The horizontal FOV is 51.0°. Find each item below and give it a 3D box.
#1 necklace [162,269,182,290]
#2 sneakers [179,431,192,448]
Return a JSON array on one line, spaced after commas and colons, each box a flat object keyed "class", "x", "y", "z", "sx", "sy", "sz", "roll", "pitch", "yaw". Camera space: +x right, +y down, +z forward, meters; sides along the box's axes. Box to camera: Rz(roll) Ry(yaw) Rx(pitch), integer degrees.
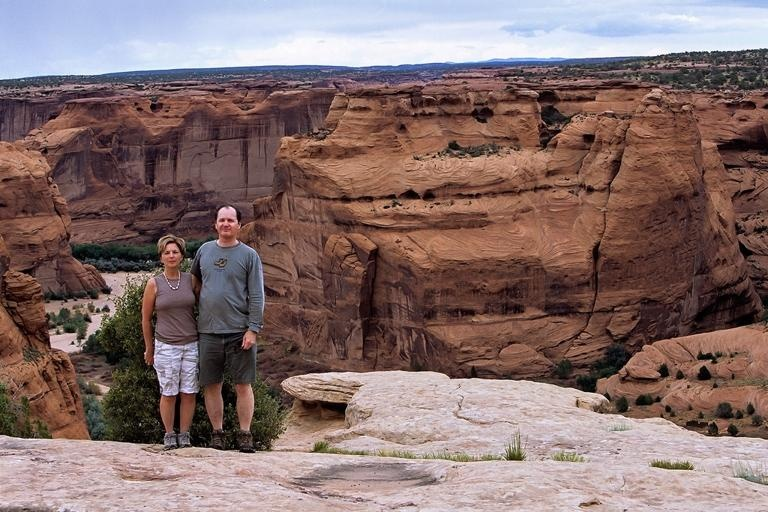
[{"class": "necklace", "x": -3.843, "y": 0.455, "z": 14.509, "sx": 0.313, "sy": 0.293, "sz": 0.204, "roll": -1, "pitch": 11, "yaw": 1}, {"class": "sneakers", "x": -3.554, "y": 3.242, "z": 14.248, "sx": 0.219, "sy": 0.154, "sz": 0.370, "roll": -5, "pitch": 10, "yaw": -19}]
